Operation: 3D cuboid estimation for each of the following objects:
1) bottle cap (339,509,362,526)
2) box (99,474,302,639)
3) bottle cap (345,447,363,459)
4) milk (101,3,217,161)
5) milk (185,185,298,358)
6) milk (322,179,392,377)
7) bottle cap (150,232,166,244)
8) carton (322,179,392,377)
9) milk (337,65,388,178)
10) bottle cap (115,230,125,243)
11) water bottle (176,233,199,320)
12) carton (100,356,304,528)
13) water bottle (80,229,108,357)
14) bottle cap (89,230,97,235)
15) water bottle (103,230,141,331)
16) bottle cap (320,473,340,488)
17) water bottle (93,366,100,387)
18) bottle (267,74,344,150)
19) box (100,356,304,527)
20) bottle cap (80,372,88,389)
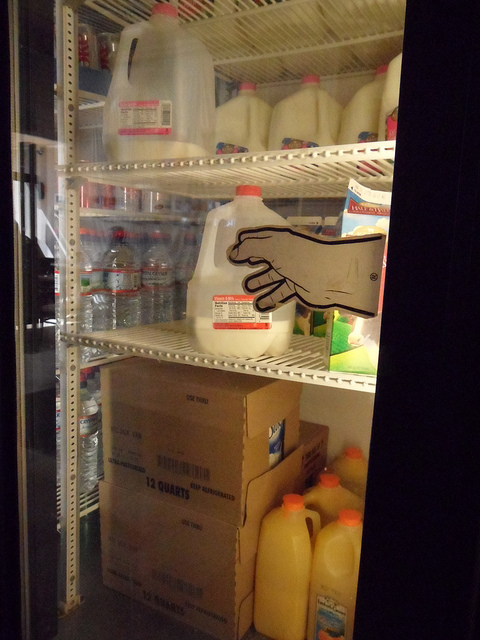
[{"bbox_3d":[0.243,0.436,1.108,0.048,0.019,0.043,6,11,16],"label":"bottle cap"},{"bbox_3d":[-0.119,0.516,1.366,0.367,0.274,0.386,4,5,30],"label":"box"},{"bbox_3d":[0.300,0.350,1.324,0.028,0.013,0.028,-5,5,-42],"label":"bottle cap"},{"bbox_3d":[-0.171,-0.483,1.238,0.209,0.467,0.232,8,20,21],"label":"milk"},{"bbox_3d":[0.003,-0.102,1.063,0.227,0.360,0.163,1,9,-7],"label":"milk"},{"bbox_3d":[0.205,-0.071,0.899,0.098,0.348,0.153,4,9,11],"label":"milk"},{"bbox_3d":[-0.251,-0.252,1.538,0.033,0.038,0.062,0,1,-11],"label":"bottle cap"},{"bbox_3d":[0.187,-0.083,0.917,0.097,0.341,0.134,6,14,10],"label":"carton"},{"bbox_3d":[0.306,-0.553,1.286,0.122,0.203,0.118,6,10,23],"label":"milk"},{"bbox_3d":[-0.354,-0.245,1.487,0.026,0.060,0.031,1,8,5],"label":"bottle cap"},{"bbox_3d":[-0.147,-0.133,1.542,0.051,0.285,0.084,7,18,21],"label":"water bottle"},{"bbox_3d":[-0.110,0.217,1.391,0.443,0.424,0.450,1,11,5],"label":"carton"},{"bbox_3d":[-0.415,-0.092,1.458,0.086,0.387,0.098,3,14,5],"label":"water bottle"},{"bbox_3d":[-0.421,-0.250,1.440,0.021,0.015,0.012,-4,11,-13],"label":"bottle cap"},{"bbox_3d":[-0.347,-0.117,1.484,0.111,0.292,0.081,-2,9,-24],"label":"water bottle"},{"bbox_3d":[0.226,0.401,1.261,0.030,0.014,0.033,1,6,6],"label":"bottle cap"},{"bbox_3d":[-0.423,0.164,1.482,0.016,0.056,0.023,0,9,-12],"label":"water bottle"},{"bbox_3d":[0.181,-0.526,1.408,0.158,0.288,0.147,5,-11,1],"label":"bottle"},{"bbox_3d":[-0.109,0.306,1.343,0.438,0.345,0.259,5,8,31],"label":"box"},{"bbox_3d":[-0.445,0.175,1.428,0.030,0.041,0.031,-1,5,-27],"label":"bottle cap"}]
